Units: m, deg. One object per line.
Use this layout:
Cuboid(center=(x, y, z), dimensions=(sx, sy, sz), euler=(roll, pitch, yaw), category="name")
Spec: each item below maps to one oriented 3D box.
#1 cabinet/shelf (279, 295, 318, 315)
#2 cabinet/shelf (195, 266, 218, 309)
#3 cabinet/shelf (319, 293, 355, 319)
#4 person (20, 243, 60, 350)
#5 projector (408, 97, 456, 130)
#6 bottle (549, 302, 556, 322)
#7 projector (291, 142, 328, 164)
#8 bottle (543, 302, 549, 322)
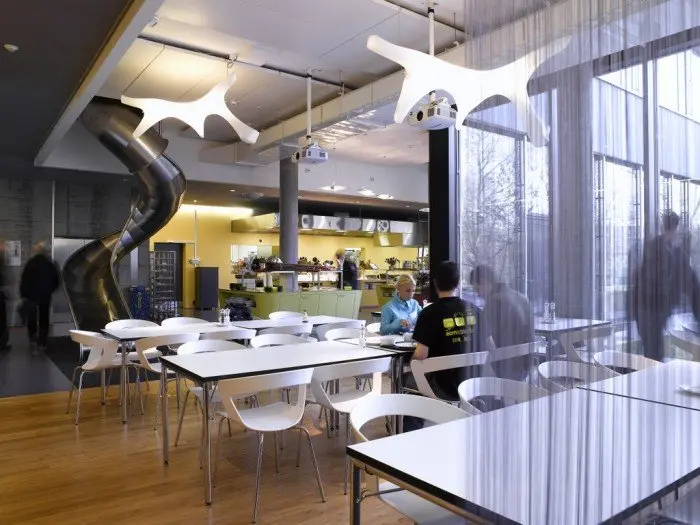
Cuboid(center=(-1.028, 0.775, 10.592), dimensions=(0.384, 0.354, 0.154), euler=(-1, 7, -34), category="cabinet/shelf")
Cuboid(center=(-4.164, 0.697, 15.831), dimensions=(0.714, 1.195, 0.681), euler=(0, 2, 3), category="cabinet/shelf")
Cuboid(center=(-0.282, 0.886, 11.889), dimensions=(0.482, 0.596, 0.828), euler=(1, 0, 45), category="cabinet/shelf")
Cuboid(center=(-5.684, 0.494, 10.183), dimensions=(0.650, 1.759, 1.248), euler=(-1, 2, -30), category="person")
Cuboid(center=(0.740, -1.267, 4.813), dimensions=(0.297, 0.191, 0.418), euler=(2, -4, -34), category="projector")
Cuboid(center=(0.566, 0.137, 1.560), dimensions=(0.016, 0.056, 0.013), euler=(1, 2, 21), category="bottle")
Cuboid(center=(-0.587, -1.431, 7.432), dimensions=(0.319, 0.181, 0.437), euler=(-2, 3, -27), category="projector")
Cuboid(center=(0.552, 0.136, 1.569), dimensions=(0.020, 0.056, 0.015), euler=(1, 2, 23), category="bottle")
